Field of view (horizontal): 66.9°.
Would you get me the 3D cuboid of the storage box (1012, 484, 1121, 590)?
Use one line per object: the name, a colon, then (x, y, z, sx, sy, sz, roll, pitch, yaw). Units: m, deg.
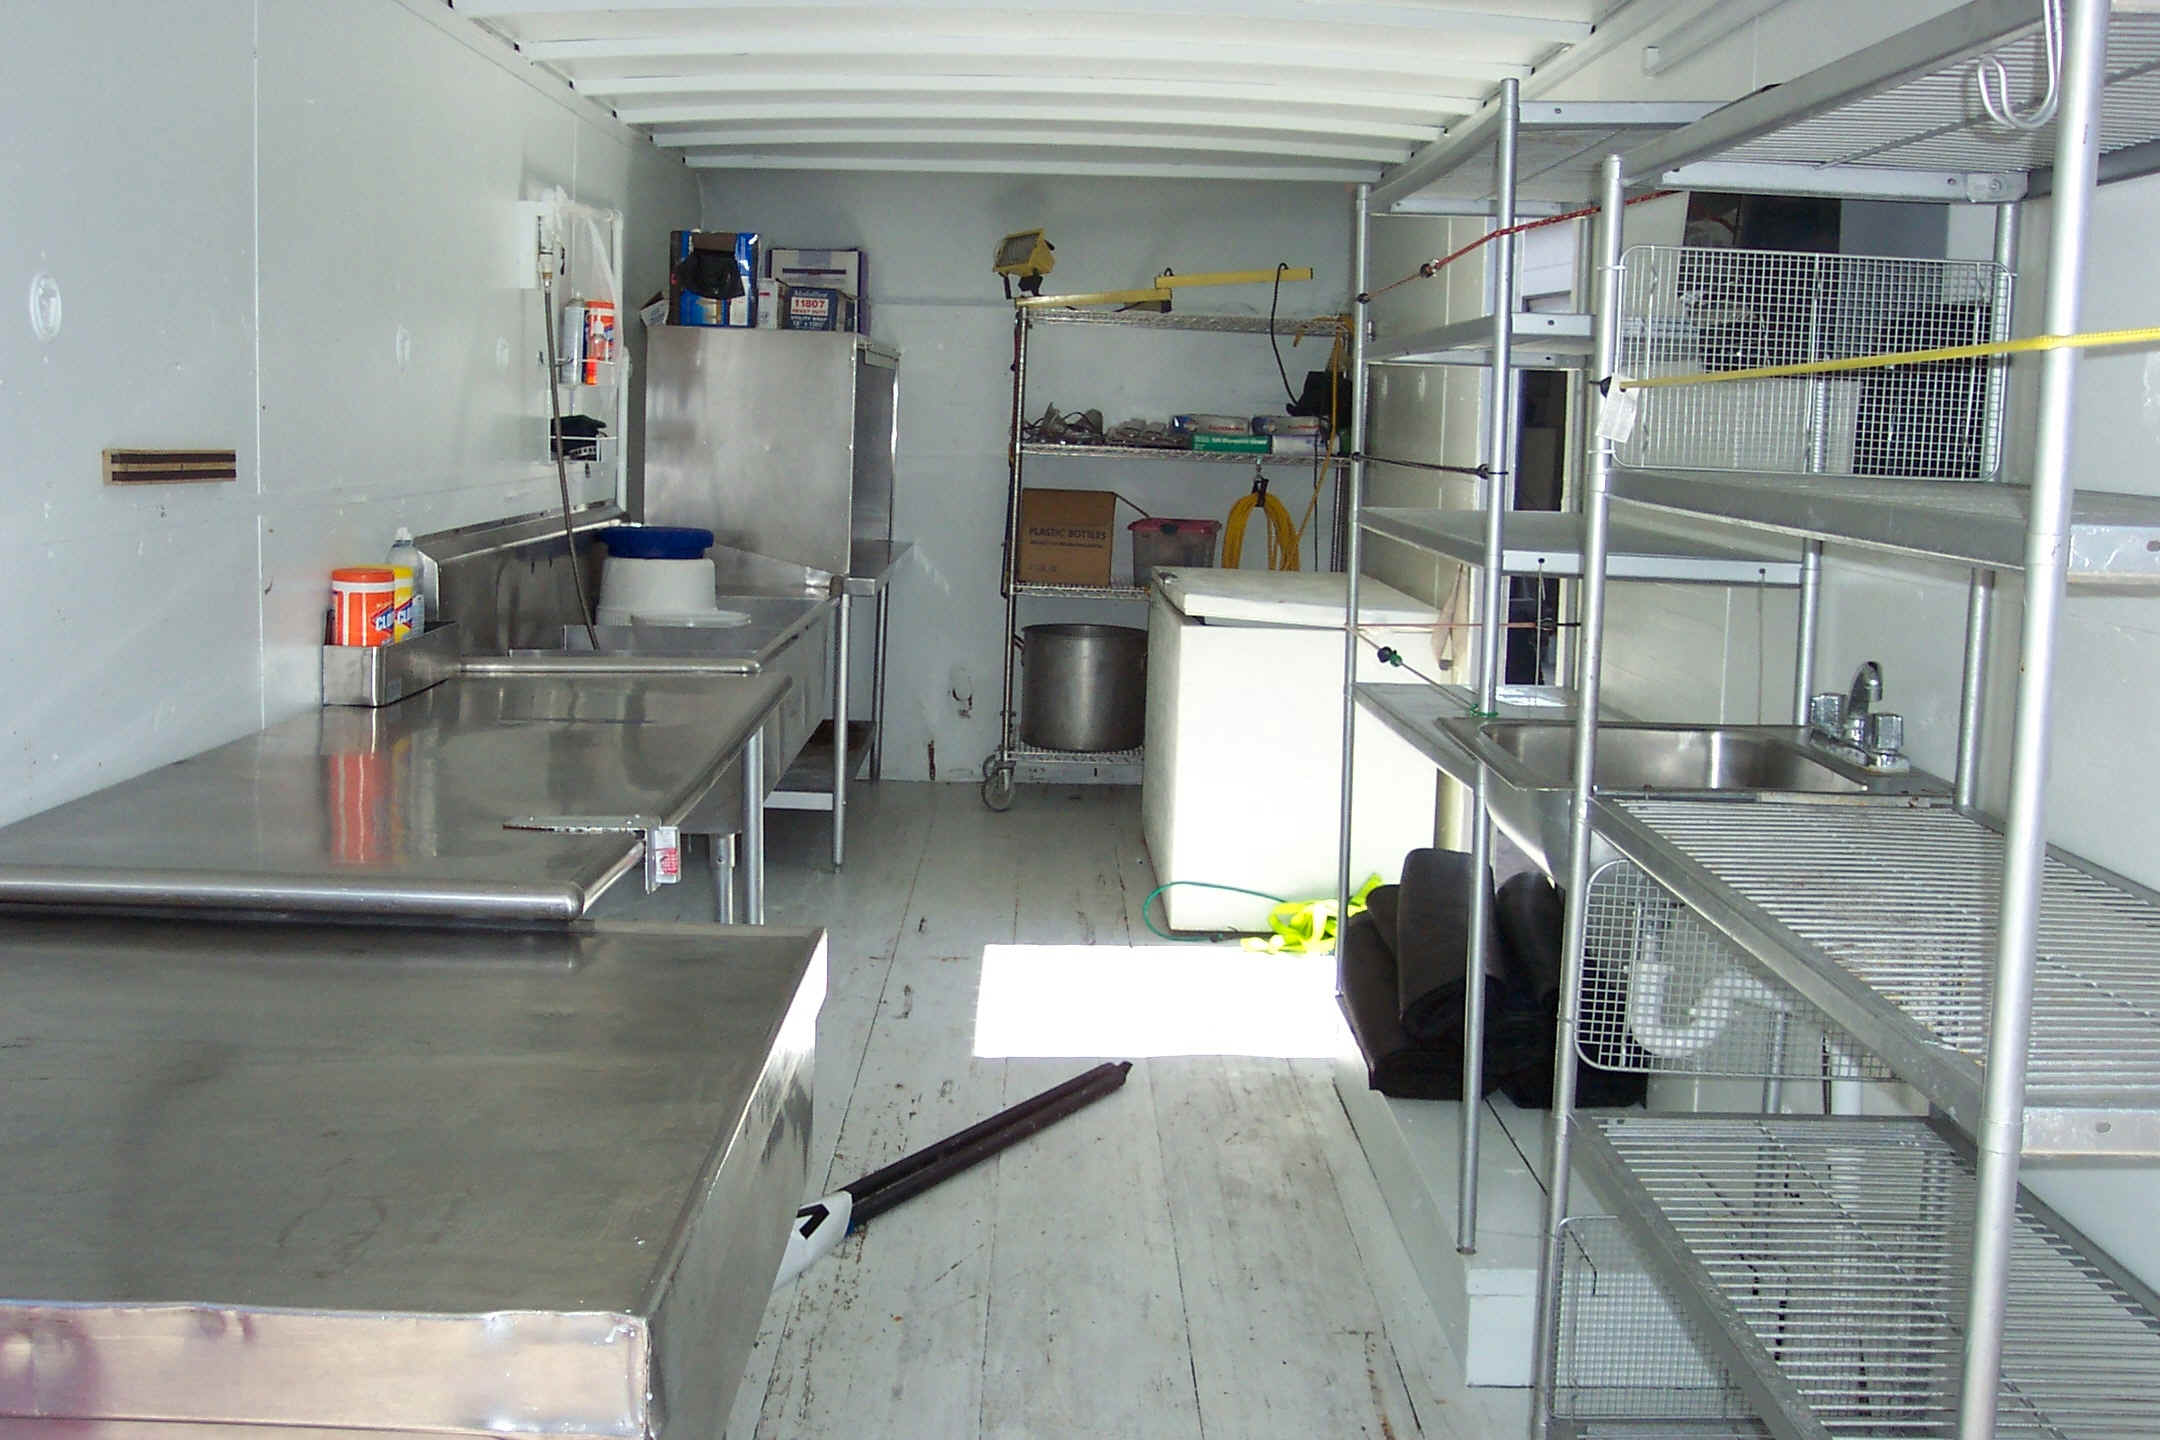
storage box: (-0.086, -0.760, 6.503, 0.383, 0.351, 0.355, 2, 14, -8)

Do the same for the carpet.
carpet: (0.219, 0.759, 4.583, 1.036, 0.044, 0.898, 1, 13, 0)

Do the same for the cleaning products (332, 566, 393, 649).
cleaning products: (-1.522, -0.239, 3.437, 0.154, 0.158, 0.151, 0, 6, -20)

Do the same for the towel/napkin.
towel/napkin: (0.869, 0.603, 3.796, 0.534, 0.221, 0.630, 1, 7, 2)

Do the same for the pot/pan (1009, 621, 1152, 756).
pot/pan: (0.015, -0.120, 6.560, 0.538, 0.393, 0.501, 8, 15, 26)

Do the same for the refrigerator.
refrigerator: (0.627, 0.044, 5.658, 1.016, 1.259, 1.201, 0, 4, -5)
